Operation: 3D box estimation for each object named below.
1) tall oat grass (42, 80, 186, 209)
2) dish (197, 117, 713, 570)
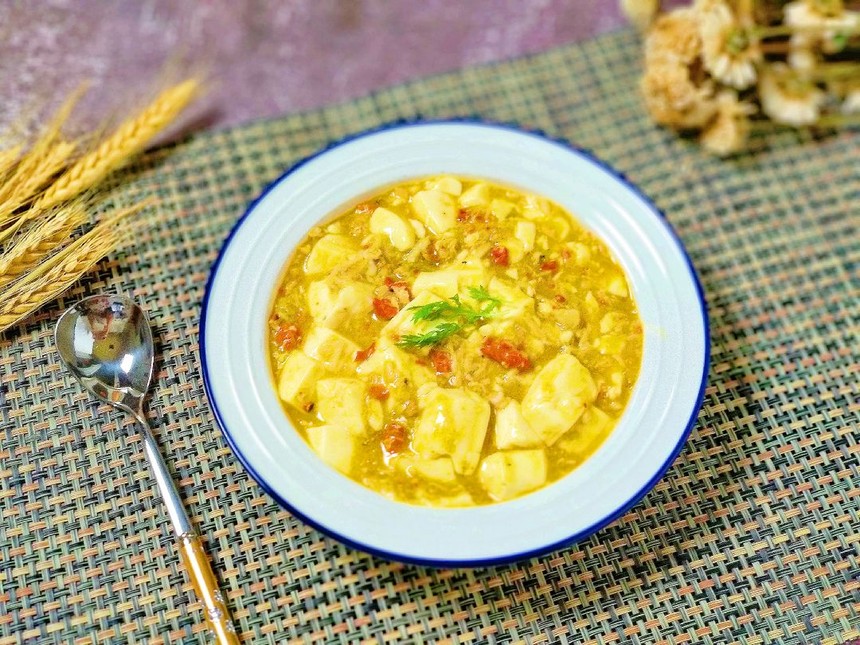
[{"bbox_3d":[-1.325,-0.731,3.607,0.892,0.157,0.153,-37,90,-18],"label":"tall oat grass"},{"bbox_3d":[0.042,0.105,3.326,1.797,0.218,1.545,0,74,-1],"label":"dish"}]
